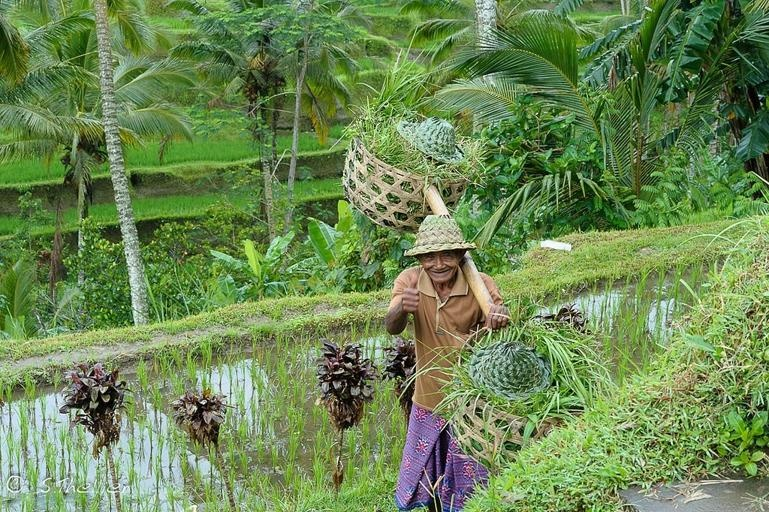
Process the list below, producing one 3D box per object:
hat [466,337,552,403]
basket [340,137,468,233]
[{"bbox_3d":[1.126,1.053,8.747,0.520,0.204,0.586,15,63,7],"label":"hat"},{"bbox_3d":[0.168,-0.777,9.553,0.953,0.566,0.874,33,18,3],"label":"basket"}]
